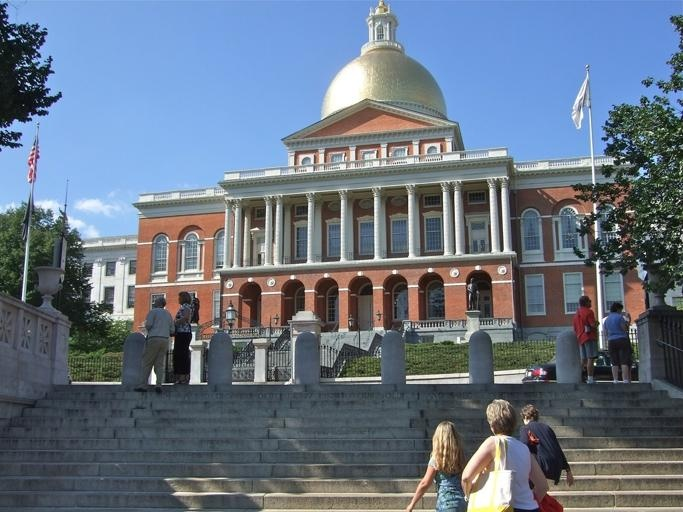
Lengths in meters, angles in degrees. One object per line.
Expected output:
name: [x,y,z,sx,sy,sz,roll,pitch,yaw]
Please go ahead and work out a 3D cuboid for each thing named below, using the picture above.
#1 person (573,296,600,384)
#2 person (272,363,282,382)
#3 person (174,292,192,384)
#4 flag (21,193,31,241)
person: [5.704,1.912,18.661,0.496,2.021,1.151,-4,-10,16]
person: [-2.496,4.511,30.901,0.430,0.437,0.789,-3,16,-1]
person: [-3.716,1.910,18.764,0.413,2.157,1.578,1,-9,-12]
flag: [-13.428,-1.776,34.329,0.319,1.965,1.628,3,-10,-21]
